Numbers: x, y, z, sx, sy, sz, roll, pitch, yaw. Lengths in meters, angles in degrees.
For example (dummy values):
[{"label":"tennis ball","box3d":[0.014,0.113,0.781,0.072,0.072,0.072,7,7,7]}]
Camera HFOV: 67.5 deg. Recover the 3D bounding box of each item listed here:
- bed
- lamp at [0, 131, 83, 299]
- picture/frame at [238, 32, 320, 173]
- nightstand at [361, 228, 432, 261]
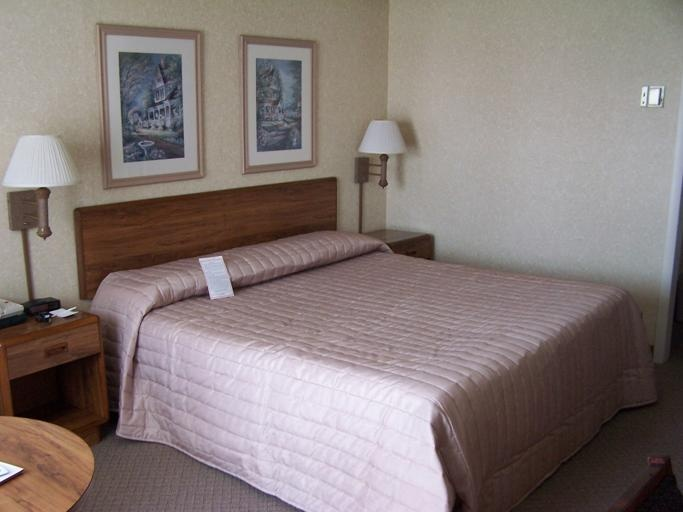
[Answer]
[{"label":"bed","box3d":[0.096,0.318,3.192,2.332,1.101,2.435,11,19,37]},{"label":"lamp","box3d":[-1.697,-0.204,2.915,0.336,0.938,0.371,-15,20,-41]},{"label":"picture/frame","box3d":[-0.502,-1.210,4.128,0.094,1.027,0.794,13,20,41]},{"label":"nightstand","box3d":[0.572,-0.135,4.770,0.371,0.358,0.378,12,22,30]}]
